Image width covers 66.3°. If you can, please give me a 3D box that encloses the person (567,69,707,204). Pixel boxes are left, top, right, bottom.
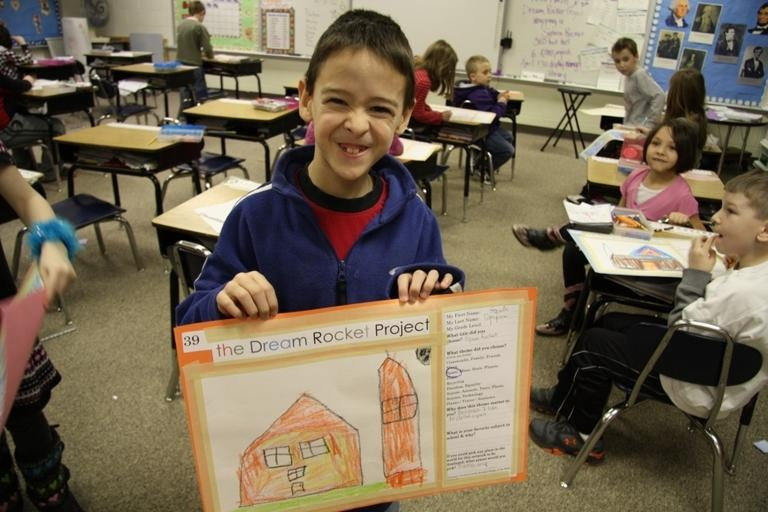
[{"bbox_3d":[1.963,-1.193,5.331,0.689,1.033,0.697,33,43,28],"label":"person"}]

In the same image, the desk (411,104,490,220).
[{"bbox_3d":[0.469,-0.879,5.251,0.745,0.689,0.590,15,17,3],"label":"desk"}]

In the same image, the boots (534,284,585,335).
[{"bbox_3d":[1.119,0.362,3.781,0.384,0.270,0.122,-5,26,-24],"label":"boots"}]

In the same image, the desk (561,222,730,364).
[{"bbox_3d":[1.288,0.268,3.173,0.634,0.676,0.694,-28,42,-33],"label":"desk"}]

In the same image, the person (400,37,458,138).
[{"bbox_3d":[0.372,-1.563,5.474,0.534,0.733,0.539,2,17,7],"label":"person"}]

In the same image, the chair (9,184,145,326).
[{"bbox_3d":[-1.679,0.027,3.246,0.529,0.758,0.522,32,45,19],"label":"chair"}]

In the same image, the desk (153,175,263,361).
[{"bbox_3d":[-1.110,-0.003,3.589,0.857,0.661,0.711,26,42,22],"label":"desk"}]

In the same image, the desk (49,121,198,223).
[{"bbox_3d":[-1.929,-0.507,4.110,0.680,0.499,0.556,-4,15,-24],"label":"desk"}]

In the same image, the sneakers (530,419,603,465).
[{"bbox_3d":[0.900,0.921,3.041,0.393,0.186,0.164,18,33,11],"label":"sneakers"}]

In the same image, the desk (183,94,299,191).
[{"bbox_3d":[-1.213,-1.077,5.123,0.973,0.746,0.788,20,38,19],"label":"desk"}]

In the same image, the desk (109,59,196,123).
[{"bbox_3d":[-2.727,-1.919,6.966,0.702,0.644,0.876,-8,13,-41],"label":"desk"}]

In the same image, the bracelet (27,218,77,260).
[{"bbox_3d":[-1.133,-0.054,1.999,0.149,0.122,0.128,-13,25,-31],"label":"bracelet"}]

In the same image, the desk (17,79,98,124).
[{"bbox_3d":[-3.064,-1.352,5.531,0.610,0.328,0.467,33,41,30],"label":"desk"}]

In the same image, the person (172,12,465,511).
[{"bbox_3d":[-0.198,0.111,2.011,0.874,1.765,0.542,-8,23,-19],"label":"person"}]

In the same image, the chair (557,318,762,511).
[{"bbox_3d":[1.320,0.776,2.813,0.535,0.787,0.553,17,43,28],"label":"chair"}]
